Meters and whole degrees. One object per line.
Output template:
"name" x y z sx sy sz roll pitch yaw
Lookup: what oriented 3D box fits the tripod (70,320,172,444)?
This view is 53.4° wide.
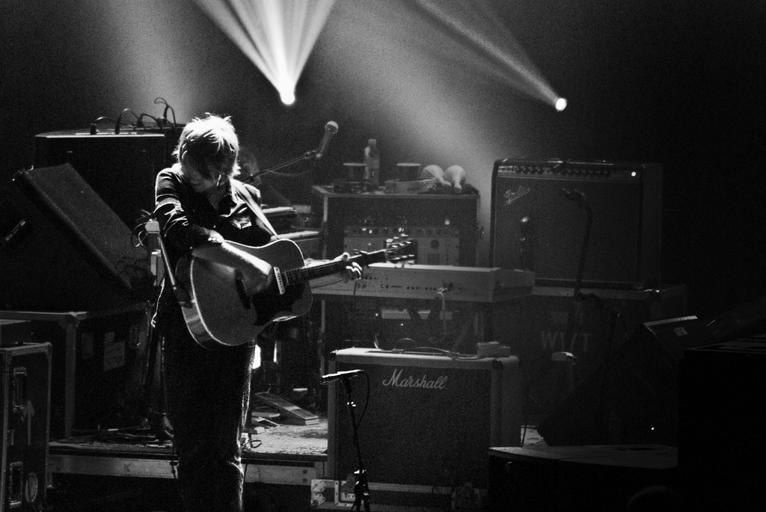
"tripod" -1.786 0.856 5.111 0.295 0.790 0.823 -3 -8 17

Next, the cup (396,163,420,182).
"cup" 0.208 -0.730 6.567 0.194 0.133 0.192 -2 8 0

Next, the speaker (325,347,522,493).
"speaker" 0.267 0.745 4.905 1.347 1.030 0.766 0 -4 9

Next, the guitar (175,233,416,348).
"guitar" -0.555 0.126 4.467 0.200 0.572 1.483 -24 -5 36

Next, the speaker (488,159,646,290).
"speaker" 1.541 -0.263 6.090 1.411 1.178 0.898 3 7 20

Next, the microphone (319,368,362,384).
"microphone" -0.210 0.640 4.018 0.218 0.054 0.211 -4 1 -6

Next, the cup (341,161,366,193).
"cup" -0.241 -0.670 6.444 0.287 0.296 0.282 -1 7 0
